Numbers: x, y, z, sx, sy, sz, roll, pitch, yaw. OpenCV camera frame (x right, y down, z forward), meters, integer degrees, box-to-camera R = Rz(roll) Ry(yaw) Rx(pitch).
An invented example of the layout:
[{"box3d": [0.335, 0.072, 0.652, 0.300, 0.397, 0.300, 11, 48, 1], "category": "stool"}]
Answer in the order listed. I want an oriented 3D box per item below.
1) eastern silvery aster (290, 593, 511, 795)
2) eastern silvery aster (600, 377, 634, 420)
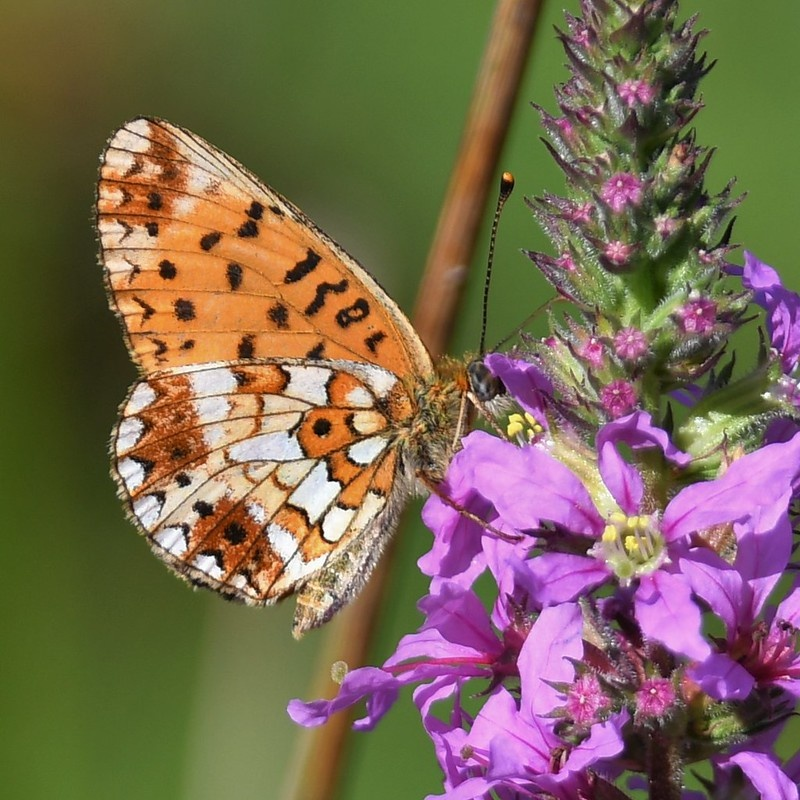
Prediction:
[{"box3d": [-0.002, 0.710, 2.651, 0.507, 0.468, 0.346, -22, -4, 26], "category": "eastern silvery aster"}, {"box3d": [0.484, -0.003, 2.469, 0.083, 0.082, 0.043, -6, 8, 16], "category": "eastern silvery aster"}]
